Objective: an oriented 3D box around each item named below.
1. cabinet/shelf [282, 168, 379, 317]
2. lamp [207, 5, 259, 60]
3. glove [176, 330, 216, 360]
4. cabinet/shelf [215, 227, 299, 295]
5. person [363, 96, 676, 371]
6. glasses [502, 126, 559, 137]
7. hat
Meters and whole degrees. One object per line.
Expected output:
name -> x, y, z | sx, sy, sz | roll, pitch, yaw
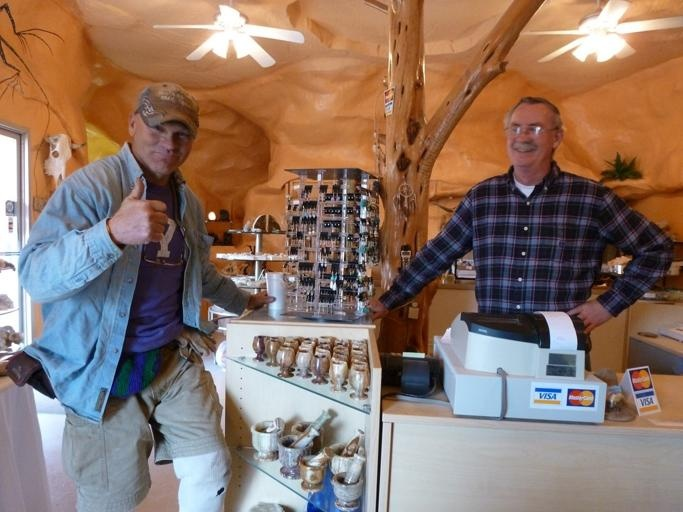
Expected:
cabinet/shelf -> -0.118, -0.101, 2.791 | 0.623, 0.706, 0.598 | 2, 3, 39
lamp -> -1.142, -2.343, 5.408 | 0.476, 0.296, 0.711 | 2, -4, -5
glove -> -0.713, 0.416, 2.459 | 0.143, 0.060, 0.141 | 0, 20, -40
cabinet/shelf -> -0.861, 0.037, 5.323 | 0.667, 0.594, 0.652 | 7, 12, 25
person -> 0.977, -0.214, 2.672 | 1.312, 1.111, 0.360 | 1, -4, 7
glasses -> 0.937, -0.610, 2.568 | 0.239, 0.061, 0.095 | 1, -4, 15
hat -> -0.780, -0.681, 2.348 | 0.275, 0.192, 0.374 | 0, 16, -37
